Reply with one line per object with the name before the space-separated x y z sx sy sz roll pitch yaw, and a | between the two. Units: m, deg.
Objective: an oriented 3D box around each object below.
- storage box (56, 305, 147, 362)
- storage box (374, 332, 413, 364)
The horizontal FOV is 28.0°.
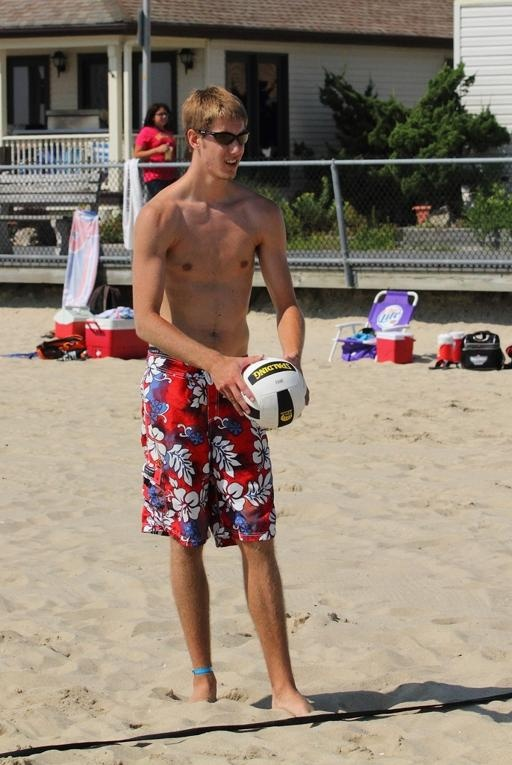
storage box | -2.005 -0.575 11.945 1.621 0.796 1.300 0 4 -2
storage box | 1.340 -0.370 10.588 0.355 0.329 0.354 -6 10 -40
